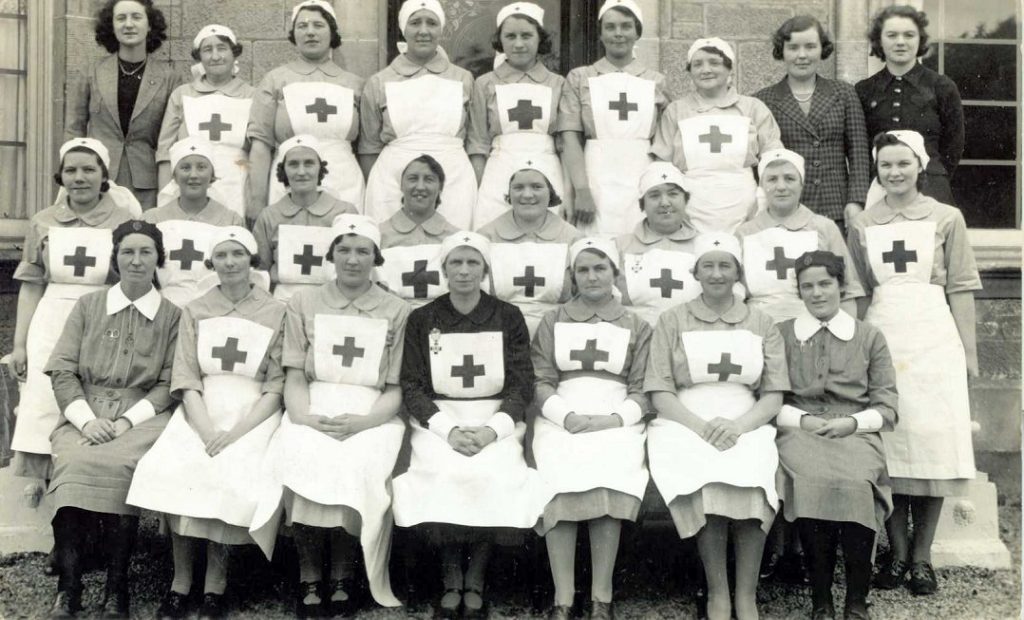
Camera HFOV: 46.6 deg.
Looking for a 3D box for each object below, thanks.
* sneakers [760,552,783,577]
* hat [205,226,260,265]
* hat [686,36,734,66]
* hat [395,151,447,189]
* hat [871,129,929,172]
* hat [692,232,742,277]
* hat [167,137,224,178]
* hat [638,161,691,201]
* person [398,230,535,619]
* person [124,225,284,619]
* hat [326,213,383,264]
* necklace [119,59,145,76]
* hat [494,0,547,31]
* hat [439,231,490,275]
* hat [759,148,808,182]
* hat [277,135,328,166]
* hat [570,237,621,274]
[{"bbox_3d":[1.704,1.677,7.758,0.123,0.184,0.047,18,2,3],"label":"sneakers"},{"bbox_3d":[-1.837,-0.435,7.869,0.232,0.189,0.262,-6,-29,-1],"label":"hat"},{"bbox_3d":[1.460,-1.917,8.715,0.300,0.171,0.326,1,4,2],"label":"hat"},{"bbox_3d":[-0.617,-1.009,8.375,0.332,0.281,0.478,-1,-2,-5],"label":"hat"},{"bbox_3d":[2.732,-1.104,8.240,0.378,0.262,0.284,-2,3,-35],"label":"hat"},{"bbox_3d":[1.381,-0.394,7.872,0.294,0.215,0.272,2,-23,4],"label":"hat"},{"bbox_3d":[-2.256,-1.098,8.365,0.326,0.320,0.271,-4,39,-12],"label":"hat"},{"bbox_3d":[1.048,-0.909,8.173,0.299,0.215,0.291,-1,15,8],"label":"hat"},{"bbox_3d":[-0.299,0.703,7.602,0.938,2.449,0.457,0,-3,-7],"label":"person"},{"bbox_3d":[-1.908,0.685,7.601,0.913,2.470,0.562,0,-3,-11],"label":"person"},{"bbox_3d":[-0.988,-0.475,7.945,0.398,0.327,0.299,-7,-13,14],"label":"hat"},{"bbox_3d":[-2.942,-1.869,9.171,0.141,0.181,0.085,8,-17,-12],"label":"necklace"},{"bbox_3d":[0.095,-2.205,8.873,0.317,0.180,0.367,-2,4,3],"label":"hat"},{"bbox_3d":[-0.296,-0.392,7.806,0.255,0.297,0.244,2,12,1],"label":"hat"},{"bbox_3d":[1.880,-1.029,8.231,0.301,0.228,0.200,-1,-3,7],"label":"hat"},{"bbox_3d":[-1.477,-1.151,8.361,0.309,0.184,0.166,0,-3,-12],"label":"hat"},{"bbox_3d":[0.565,-0.391,7.916,0.262,0.206,0.261,2,15,3],"label":"hat"}]
